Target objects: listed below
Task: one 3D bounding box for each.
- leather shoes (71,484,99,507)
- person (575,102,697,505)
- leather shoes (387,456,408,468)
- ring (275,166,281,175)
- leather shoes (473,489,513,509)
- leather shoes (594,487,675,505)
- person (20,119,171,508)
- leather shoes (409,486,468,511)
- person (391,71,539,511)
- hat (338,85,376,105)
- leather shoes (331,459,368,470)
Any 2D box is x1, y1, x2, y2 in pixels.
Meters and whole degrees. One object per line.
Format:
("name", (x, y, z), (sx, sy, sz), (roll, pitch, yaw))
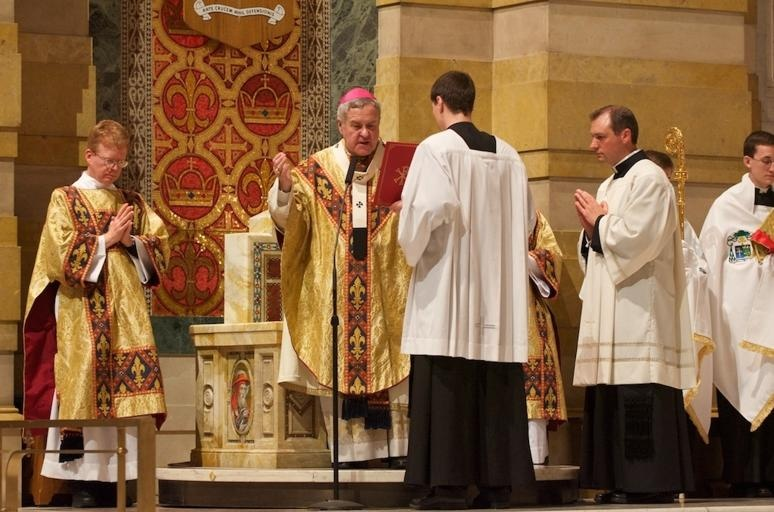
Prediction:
("leather shoes", (-2.031, 1.604, 10.014), (0.093, 0.165, 0.243), (10, -26, -25))
("person", (1.625, 0.298, 9.826), (0.787, 2.602, 0.595), (-3, -14, 10))
("leather shoes", (0.083, 1.378, 9.983), (0.095, 0.044, 0.127), (2, -6, -12))
("ring", (-0.710, -0.576, 9.765), (0.010, 0.040, 0.042), (-31, -44, 28))
("leather shoes", (0.686, 1.534, 9.443), (0.210, 0.125, 0.125), (-5, -8, 22))
("leather shoes", (1.625, 1.567, 9.730), (0.543, 0.090, 0.202), (-5, -13, 20))
("person", (-2.014, 0.370, 10.133), (0.942, 2.607, 0.623), (-4, -14, 11))
("leather shoes", (0.331, 1.519, 9.351), (0.383, 0.144, 0.183), (-3, -13, 10))
("person", (0.522, 0.194, 9.457), (0.952, 2.753, 0.561), (2, -14, -13))
("hat", (-0.155, -1.116, 10.110), (0.277, 0.108, 0.264), (-4, 4, -18))
("leather shoes", (-0.224, 1.377, 9.896), (0.259, 0.091, 0.081), (5, -10, -11))
